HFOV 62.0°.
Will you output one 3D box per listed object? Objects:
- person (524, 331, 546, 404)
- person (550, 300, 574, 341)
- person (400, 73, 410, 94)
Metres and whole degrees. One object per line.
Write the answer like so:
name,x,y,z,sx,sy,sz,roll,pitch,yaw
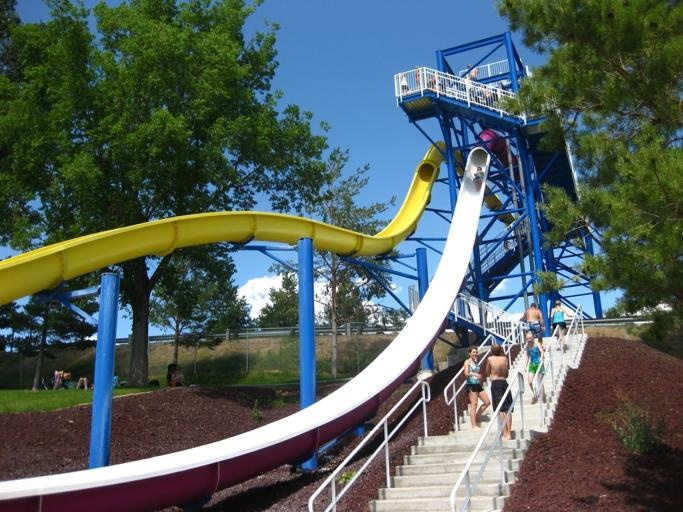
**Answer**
person,4.732,2.685,13.829,0.428,1.632,2.334,-1,-5,18
person,7.094,1.977,18.213,0.614,1.384,0.490,-6,25,17
person,2.752,-7.478,24.561,0.336,0.996,0.603,2,-5,-12
